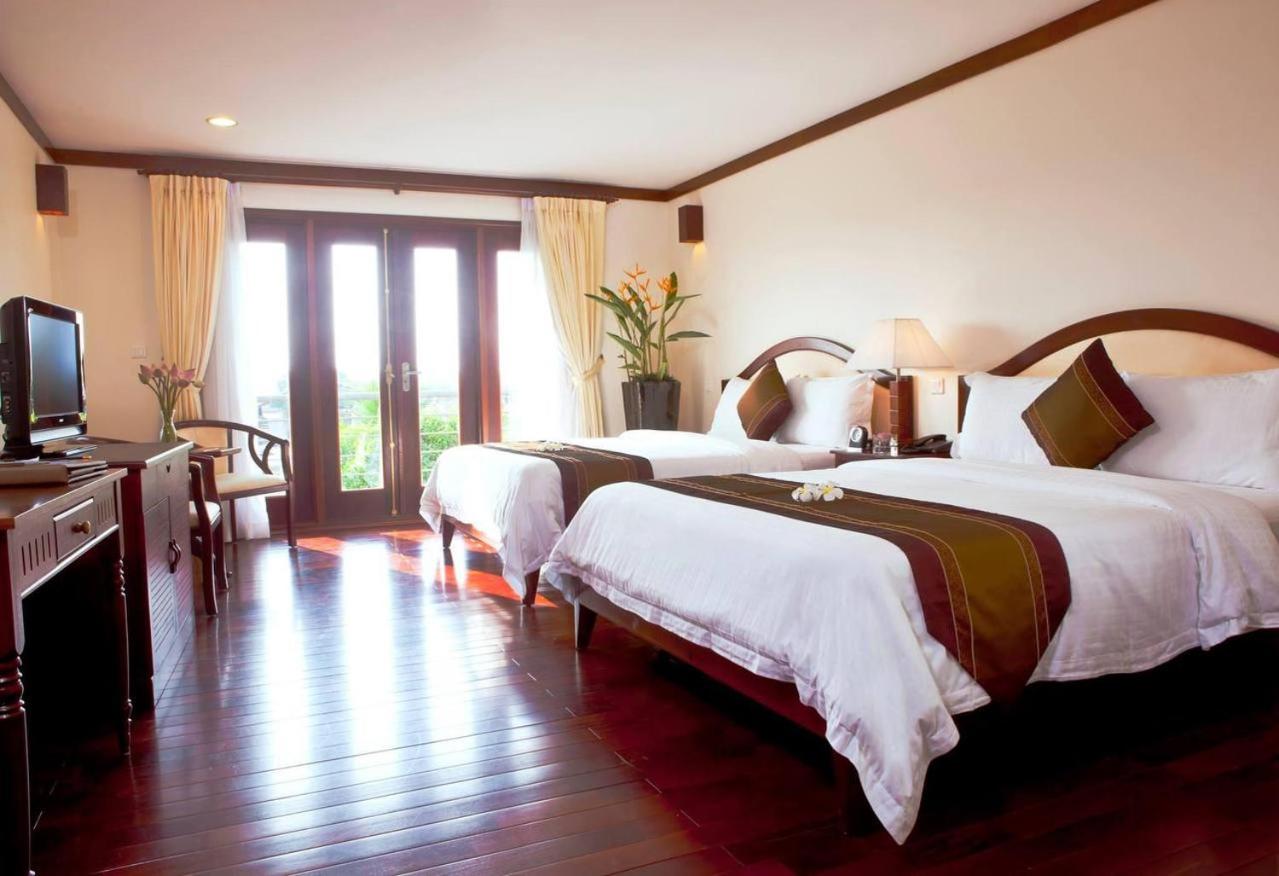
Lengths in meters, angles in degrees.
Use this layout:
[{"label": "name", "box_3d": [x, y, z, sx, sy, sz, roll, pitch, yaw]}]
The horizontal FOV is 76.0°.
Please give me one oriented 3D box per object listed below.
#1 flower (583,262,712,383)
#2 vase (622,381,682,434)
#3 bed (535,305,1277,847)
[{"label": "flower", "box_3d": [0.080, -1.051, 7.907, 1.114, 1.047, 1.101, -3, 5, -30]}, {"label": "vase", "box_3d": [0.083, -0.265, 7.334, 0.479, 0.347, 0.452, -2, -4, 25]}, {"label": "bed", "box_3d": [1.354, 0.240, 3.768, 2.816, 1.584, 2.344, -8, 12, -33]}]
